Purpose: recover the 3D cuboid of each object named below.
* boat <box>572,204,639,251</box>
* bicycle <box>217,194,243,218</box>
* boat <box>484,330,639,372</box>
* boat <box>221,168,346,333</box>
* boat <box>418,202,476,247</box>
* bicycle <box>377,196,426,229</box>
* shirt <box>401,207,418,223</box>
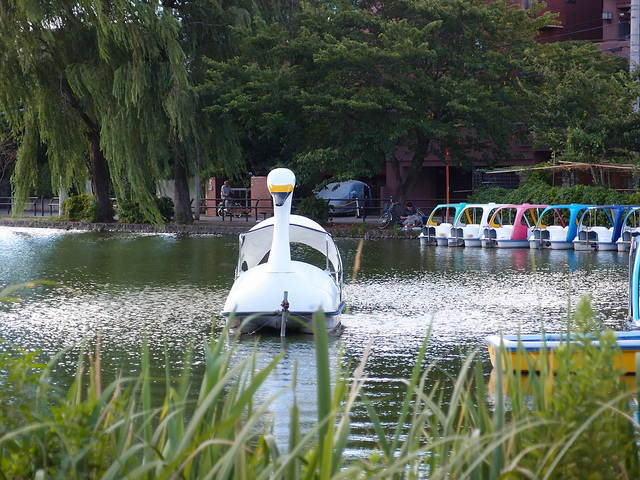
[{"bbox_3d":[9.212,-0.492,37.474,1.072,1.090,1.872,2,6,34],"label":"boat"},{"bbox_3d":[-4.061,-1.574,51.645,1.405,1.123,0.780,1,11,17],"label":"bicycle"},{"bbox_3d":[4.146,1.871,19.466,1.522,0.422,1.018,-1,6,1],"label":"boat"},{"bbox_3d":[-0.775,0.164,25.694,2.623,3.621,3.249,0,3,8],"label":"boat"},{"bbox_3d":[3.974,-0.486,40.799,2.006,1.833,1.634,2,3,26],"label":"boat"},{"bbox_3d":[2.987,-1.086,44.520,1.570,1.249,0.877,3,9,-13],"label":"bicycle"},{"bbox_3d":[3.414,-1.050,44.230,0.608,0.530,0.756,0,3,3],"label":"shirt"}]
